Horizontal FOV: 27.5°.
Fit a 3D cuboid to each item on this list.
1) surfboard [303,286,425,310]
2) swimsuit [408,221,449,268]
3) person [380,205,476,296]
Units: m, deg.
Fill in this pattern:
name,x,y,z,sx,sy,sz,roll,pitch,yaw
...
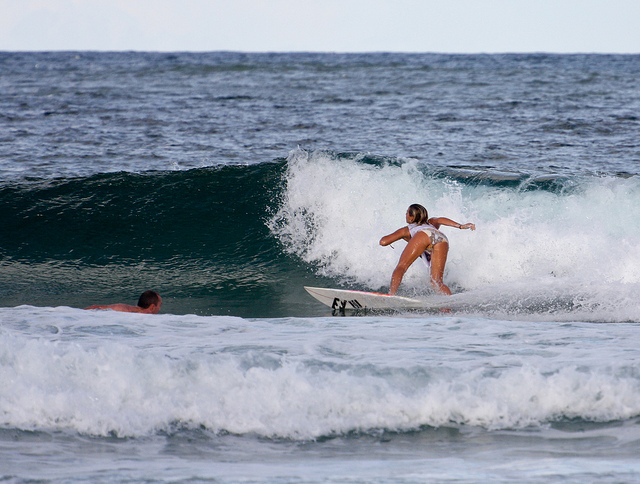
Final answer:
name,x,y,z,sx,sy,sz,roll,pitch,yaw
surfboard,1.344,1.224,27.503,3.377,0.571,0.329,2,13,10
swimsuit,2.182,0.011,27.451,0.694,0.957,0.346,4,-42,-42
person,2.131,0.188,27.536,1.612,1.886,0.628,-2,-15,3
